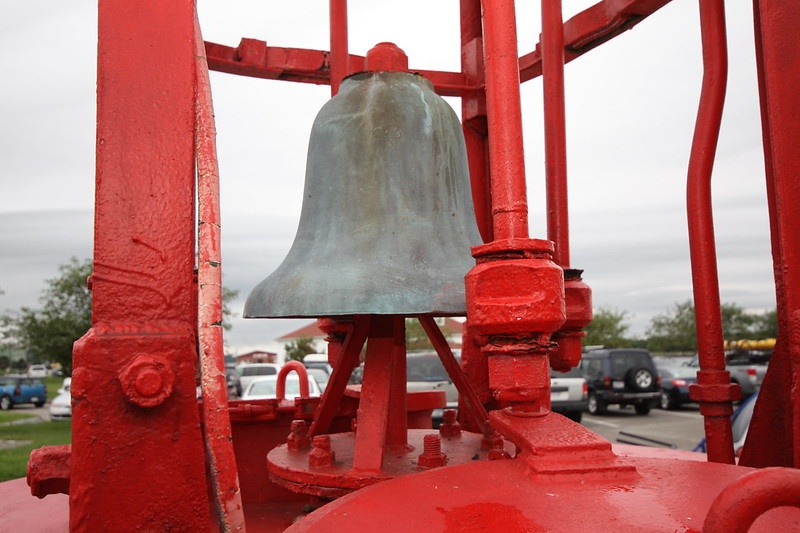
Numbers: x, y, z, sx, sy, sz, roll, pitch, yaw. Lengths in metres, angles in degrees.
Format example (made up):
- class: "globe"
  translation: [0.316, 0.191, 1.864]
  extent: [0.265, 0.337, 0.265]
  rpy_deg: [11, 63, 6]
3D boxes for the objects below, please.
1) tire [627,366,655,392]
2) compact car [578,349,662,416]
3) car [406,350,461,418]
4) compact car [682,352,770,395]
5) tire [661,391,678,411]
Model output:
- class: "tire"
  translation: [5.998, 2.861, 20.040]
  extent: [0.546, 0.604, 0.221]
  rpy_deg: [-3, 2, -15]
- class: "compact car"
  translation: [5.748, 2.761, 21.848]
  extent: [1.954, 2.020, 3.754]
  rpy_deg: [0, -3, -5]
- class: "car"
  translation: [0.612, 1.995, 13.593]
  extent: [0.930, 0.895, 1.635]
  rpy_deg: [-1, -4, 8]
- class: "compact car"
  translation: [7.780, 2.802, 19.330]
  extent: [1.216, 1.051, 2.464]
  rpy_deg: [2, -10, -30]
- class: "tire"
  translation: [7.168, 3.644, 21.541]
  extent: [0.337, 0.609, 0.546]
  rpy_deg: [-1, -1, -6]
